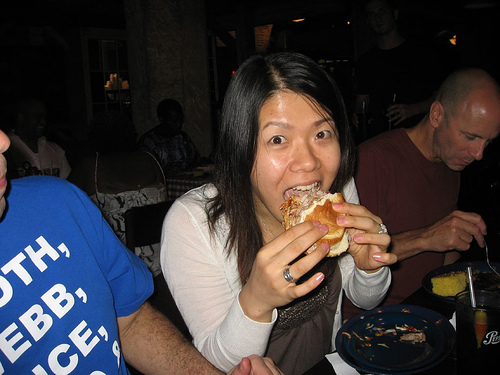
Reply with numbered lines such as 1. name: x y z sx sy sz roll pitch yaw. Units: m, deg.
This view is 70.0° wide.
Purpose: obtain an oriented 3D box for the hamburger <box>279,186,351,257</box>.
1. hamburger: 0.322 0.151 1.571 0.375 0.300 0.230 -8 11 -33

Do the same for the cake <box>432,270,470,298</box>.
1. cake: 1.045 0.503 1.868 0.160 0.050 0.373 4 10 37

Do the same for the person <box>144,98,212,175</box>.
1. person: -1.314 -0.941 6.351 0.940 1.243 1.551 14 26 27
